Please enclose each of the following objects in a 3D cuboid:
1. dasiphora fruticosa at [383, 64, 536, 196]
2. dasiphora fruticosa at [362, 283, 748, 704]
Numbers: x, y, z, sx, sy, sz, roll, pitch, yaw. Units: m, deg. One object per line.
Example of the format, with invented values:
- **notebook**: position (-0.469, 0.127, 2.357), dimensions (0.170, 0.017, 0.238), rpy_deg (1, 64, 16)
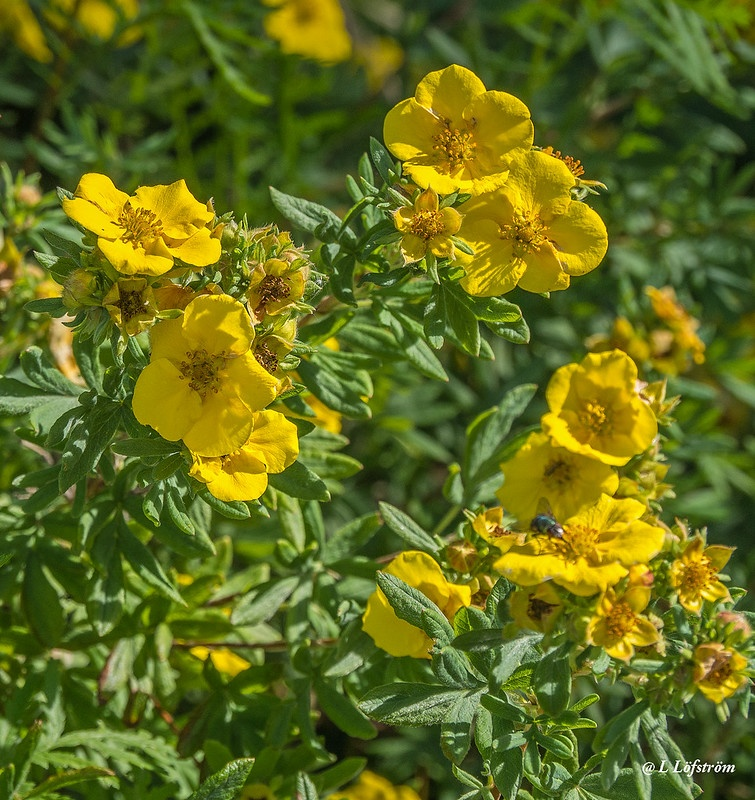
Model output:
- **dasiphora fruticosa**: position (0.136, -0.525, 1.755), dimensions (0.221, 0.194, 0.059), rpy_deg (11, 87, -43)
- **dasiphora fruticosa**: position (0.266, 0.250, 1.745), dimensions (0.622, 0.499, 0.590), rpy_deg (-9, 81, -6)
